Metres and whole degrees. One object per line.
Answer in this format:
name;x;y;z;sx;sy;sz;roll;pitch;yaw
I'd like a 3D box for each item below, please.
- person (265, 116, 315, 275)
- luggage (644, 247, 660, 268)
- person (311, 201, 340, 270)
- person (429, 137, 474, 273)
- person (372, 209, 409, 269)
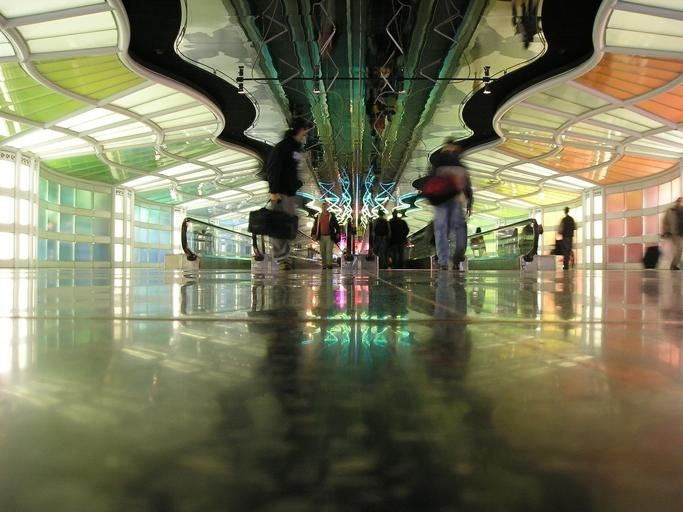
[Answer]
person;-0.715;-0.849;6.315;0.515;1.942;0.776;2;5;-5
luggage;9.189;0.057;14.178;0.395;0.683;1.039;5;6;31
person;-0.381;-0.484;11.440;0.676;1.573;0.767;2;5;-2
person;1.637;-0.749;7.248;0.641;2.005;0.876;3;5;12
person;1.371;-0.436;13.281;0.942;1.589;0.612;2;5;-6
